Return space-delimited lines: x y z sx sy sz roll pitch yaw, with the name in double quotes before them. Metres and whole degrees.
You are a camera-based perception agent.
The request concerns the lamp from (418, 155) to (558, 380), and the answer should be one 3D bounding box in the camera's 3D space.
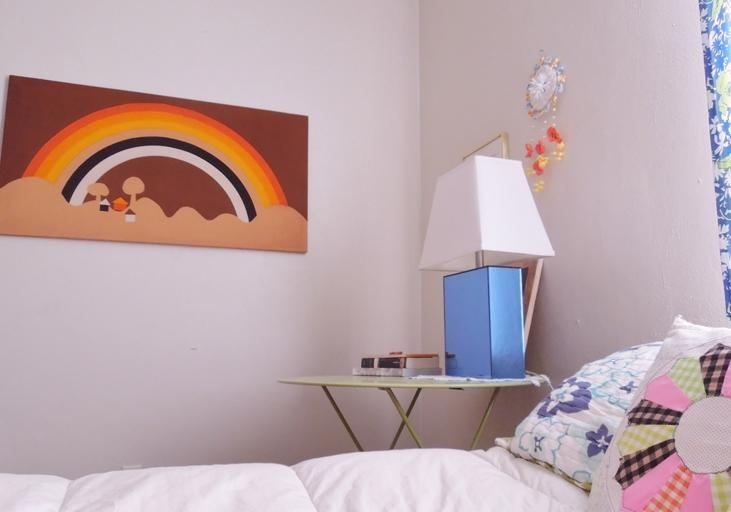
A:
"lamp" 0.443 0.032 2.093 0.362 0.827 0.448 -1 1 -21
